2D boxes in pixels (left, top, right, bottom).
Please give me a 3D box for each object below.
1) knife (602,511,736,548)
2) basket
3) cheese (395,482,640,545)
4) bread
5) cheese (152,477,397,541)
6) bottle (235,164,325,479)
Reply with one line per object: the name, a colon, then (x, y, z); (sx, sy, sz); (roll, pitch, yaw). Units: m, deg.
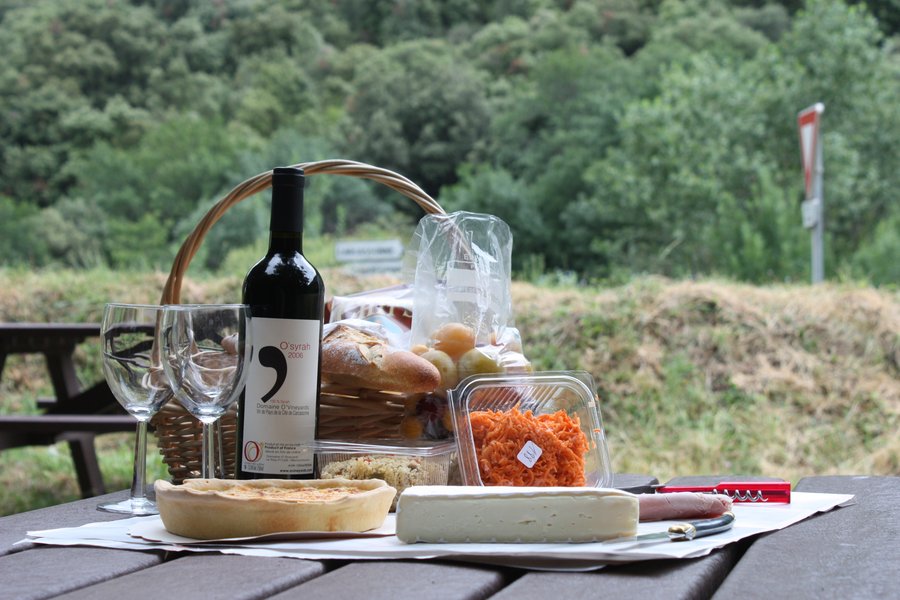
knife: (0.903, 0.977, 5.523); (0.411, 0.051, 0.088); (-9, -4, -13)
basket: (-0.736, -0.073, 5.976); (0.916, 1.657, 0.999); (14, -41, -11)
cheese: (0.302, 0.976, 5.877); (1.061, 0.252, 0.786); (-1, -8, -2)
bread: (-0.309, 0.256, 5.772); (0.509, 0.321, 0.122); (-2, 6, 4)
cheese: (-0.786, 0.956, 5.992); (1.047, 0.258, 1.087); (-4, -7, 23)
bottle: (-0.756, 0.100, 5.698); (0.403, 1.349, 0.200); (-3, 6, -7)
